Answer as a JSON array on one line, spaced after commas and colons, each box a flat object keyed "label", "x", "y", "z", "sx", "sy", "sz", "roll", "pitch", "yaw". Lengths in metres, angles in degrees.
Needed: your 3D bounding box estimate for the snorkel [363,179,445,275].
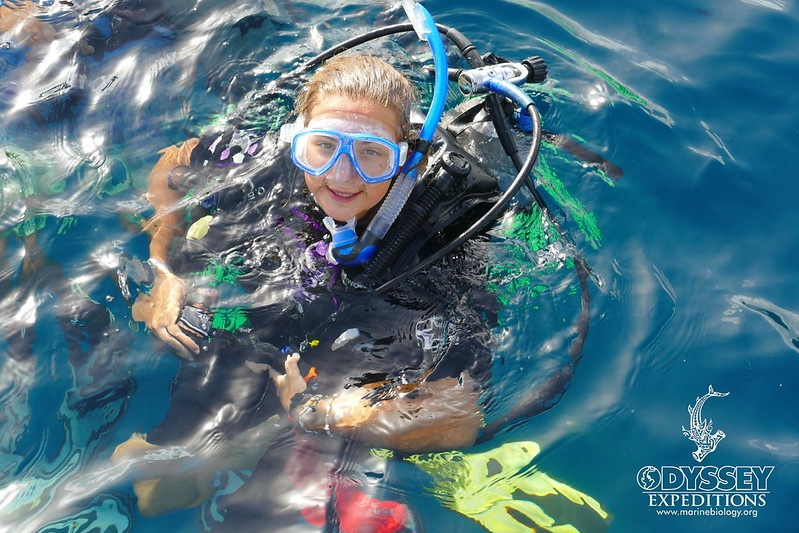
[{"label": "snorkel", "x": 0.033, "y": -0.266, "z": 5.132, "sx": 0.722, "sy": 0.156, "sz": 0.176, "roll": -45, "pitch": 36, "yaw": 3}]
